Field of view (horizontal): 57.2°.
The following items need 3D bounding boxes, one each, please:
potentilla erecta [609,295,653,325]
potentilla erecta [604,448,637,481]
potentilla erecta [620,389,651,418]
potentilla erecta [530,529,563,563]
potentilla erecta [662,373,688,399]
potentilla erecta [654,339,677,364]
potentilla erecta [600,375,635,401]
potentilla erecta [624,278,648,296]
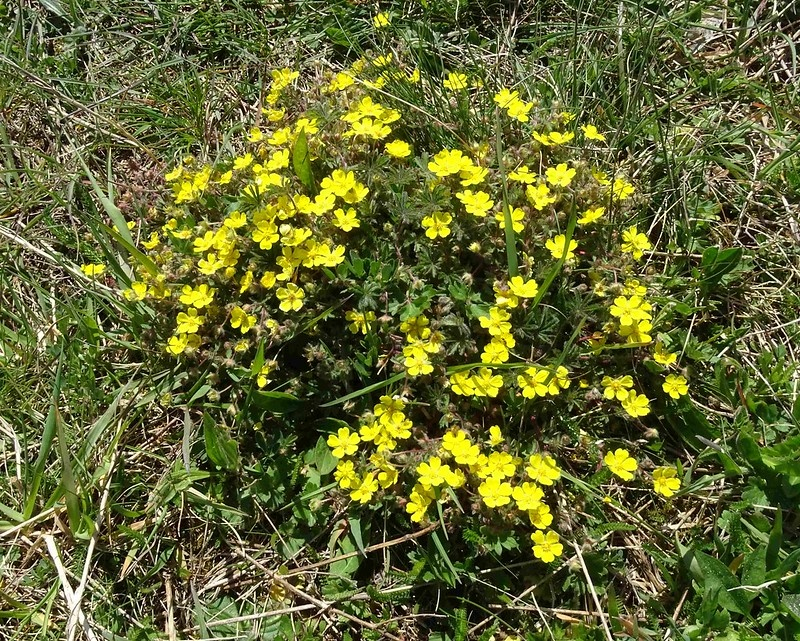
[{"bbox_3d":[1.091,-0.045,3.456,0.220,0.190,0.146,-6,84,2],"label":"potentilla erecta"},{"bbox_3d":[1.010,0.648,3.332,0.143,0.049,0.145,32,80,12],"label":"potentilla erecta"},{"bbox_3d":[1.100,0.389,3.404,0.122,0.043,0.125,-6,78,13],"label":"potentilla erecta"},{"bbox_3d":[0.645,0.977,3.217,0.128,0.238,0.129,-6,84,2],"label":"potentilla erecta"},{"bbox_3d":[1.287,0.299,3.405,0.104,0.075,0.111,38,87,5],"label":"potentilla erecta"},{"bbox_3d":[1.259,0.154,3.481,0.106,0.066,0.108,-7,71,4],"label":"potentilla erecta"},{"bbox_3d":[1.007,0.303,3.369,0.122,0.050,0.113,-38,87,6],"label":"potentilla erecta"},{"bbox_3d":[1.110,-0.150,3.457,0.109,0.072,0.079,11,85,3],"label":"potentilla erecta"}]
